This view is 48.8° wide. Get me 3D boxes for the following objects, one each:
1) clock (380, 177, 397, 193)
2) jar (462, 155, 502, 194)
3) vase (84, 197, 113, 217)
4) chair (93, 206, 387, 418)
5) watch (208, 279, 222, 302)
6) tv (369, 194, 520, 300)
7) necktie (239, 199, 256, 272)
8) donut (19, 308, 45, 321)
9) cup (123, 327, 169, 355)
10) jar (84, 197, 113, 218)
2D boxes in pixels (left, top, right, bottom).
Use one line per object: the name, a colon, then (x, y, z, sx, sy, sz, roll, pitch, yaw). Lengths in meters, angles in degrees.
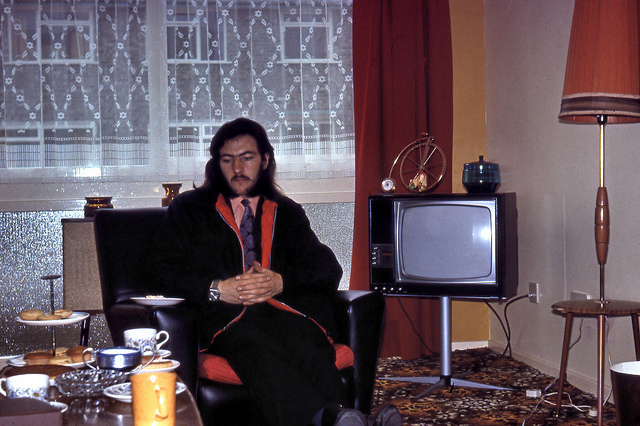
clock: (0.418, -0.170, 4.269, 0.077, 0.091, 0.144, -3, 4, 10)
jar: (0.931, -0.233, 4.226, 0.215, 0.236, 0.216, 0, 3, 0)
vase: (-1.325, -0.051, 4.250, 0.161, 0.124, 0.161, 1, -2, -32)
chair: (-0.426, 0.450, 3.749, 1.103, 1.469, 1.124, 2, -6, -24)
watch: (-0.507, 0.373, 3.419, 0.049, 0.090, 0.088, 13, -23, 9)
tv: (0.719, 0.034, 4.319, 0.906, 0.709, 0.570, -1, -5, 11)
necktie: (-0.370, 0.108, 3.626, 0.079, 0.356, 0.143, -4, 3, -5)
donut: (-1.297, 0.458, 3.190, 0.061, 0.033, 0.063, 1, 2, -9)
cup: (-0.718, 0.525, 2.933, 0.189, 0.129, 0.124, 4, -8, -16)
jar: (-1.337, -0.042, 4.293, 0.166, 0.127, 0.164, -1, -2, 0)
